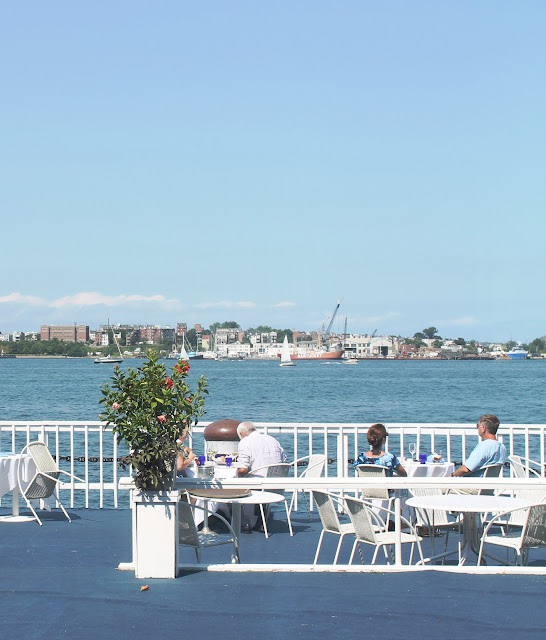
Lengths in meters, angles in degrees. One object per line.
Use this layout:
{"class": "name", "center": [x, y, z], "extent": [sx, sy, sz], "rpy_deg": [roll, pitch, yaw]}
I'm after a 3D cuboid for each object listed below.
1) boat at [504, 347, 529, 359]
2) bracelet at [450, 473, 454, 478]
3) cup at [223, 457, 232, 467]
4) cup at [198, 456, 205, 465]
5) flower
{"class": "boat", "center": [40.904, 5.500, 246.823], "extent": [3.445, 1.988, 13.894], "rpy_deg": [-1, -2, 9]}
{"class": "bracelet", "center": [1.457, 1.278, 11.898], "extent": [0.039, 0.038, 0.039], "rpy_deg": [1, 0, -3]}
{"class": "cup", "center": [-0.425, 1.310, 13.376], "extent": [0.072, 0.081, 0.071], "rpy_deg": [0, -3, 0]}
{"class": "cup", "center": [-0.655, 1.300, 13.422], "extent": [0.059, 0.067, 0.058], "rpy_deg": [1, -2, 0]}
{"class": "flower", "center": [-0.855, 0.747, 10.878], "extent": [0.917, 1.274, 0.983], "rpy_deg": [-1, 1, -1]}
